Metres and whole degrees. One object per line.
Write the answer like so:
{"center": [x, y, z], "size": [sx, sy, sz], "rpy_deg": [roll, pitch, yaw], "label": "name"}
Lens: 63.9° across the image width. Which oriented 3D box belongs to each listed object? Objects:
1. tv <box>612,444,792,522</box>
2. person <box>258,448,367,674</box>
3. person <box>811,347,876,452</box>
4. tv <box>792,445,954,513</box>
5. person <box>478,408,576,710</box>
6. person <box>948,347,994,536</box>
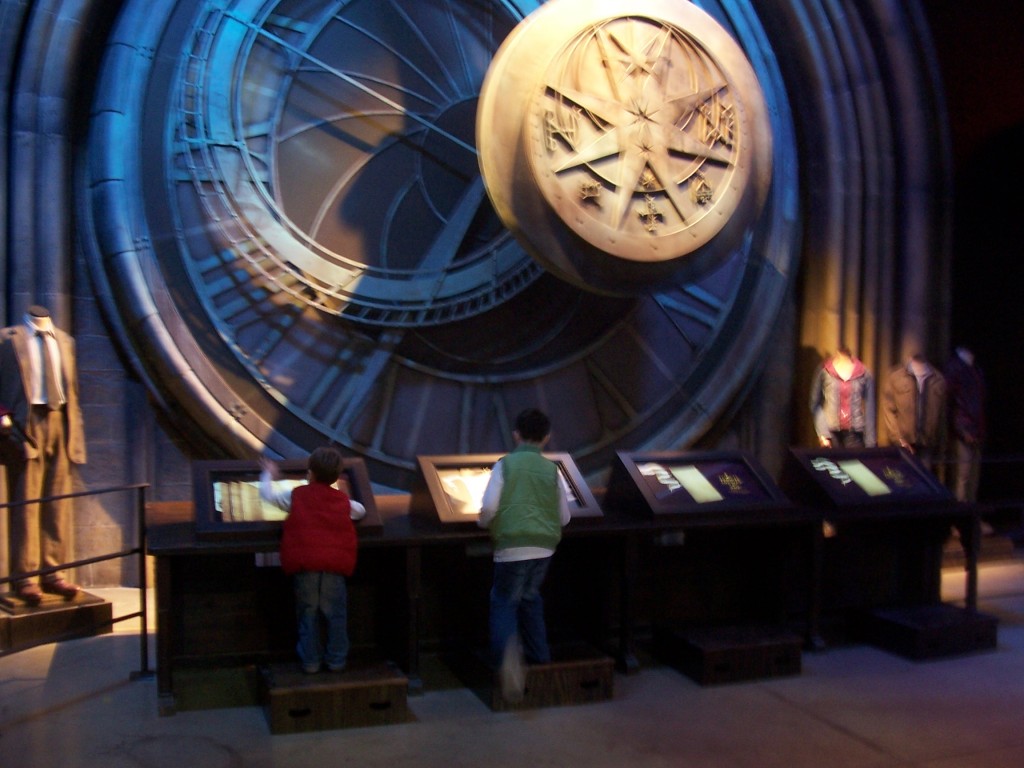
{"center": [1.300, 0.611, 5.122], "size": [1.103, 0.326, 0.442], "rpy_deg": [-1, 6, -17], "label": "tv"}
{"center": [-1.108, 0.926, 4.370], "size": [0.567, 1.163, 0.466], "rpy_deg": [0, 6, -6], "label": "person"}
{"center": [2.999, 0.121, 6.810], "size": [0.526, 0.777, 0.276], "rpy_deg": [4, 6, 26], "label": "person"}
{"center": [2.581, 0.635, 5.486], "size": [0.760, 0.483, 0.234], "rpy_deg": [4, -23, -17], "label": "tv"}
{"center": [0.080, 0.900, 4.461], "size": [0.414, 1.497, 0.525], "rpy_deg": [5, 7, 37], "label": "person"}
{"center": [4.517, 0.373, 7.568], "size": [0.325, 1.400, 0.587], "rpy_deg": [5, 7, 42], "label": "person"}
